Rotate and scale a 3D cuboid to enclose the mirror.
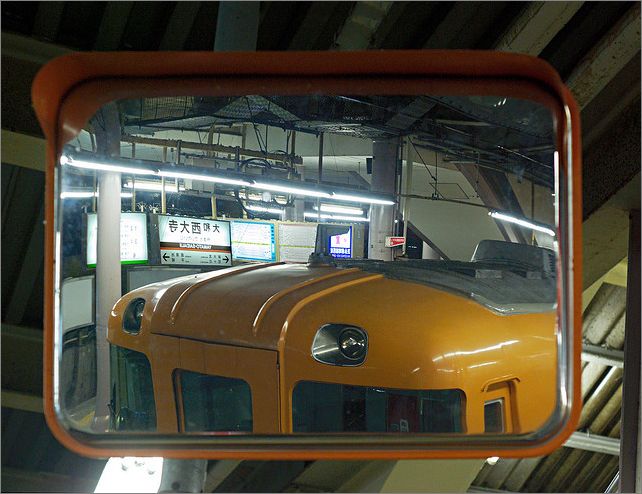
[{"bbox_3d":[-0.103,0.054,4.149,2.880,2.250,0.409,1,4,1],"label":"mirror"}]
